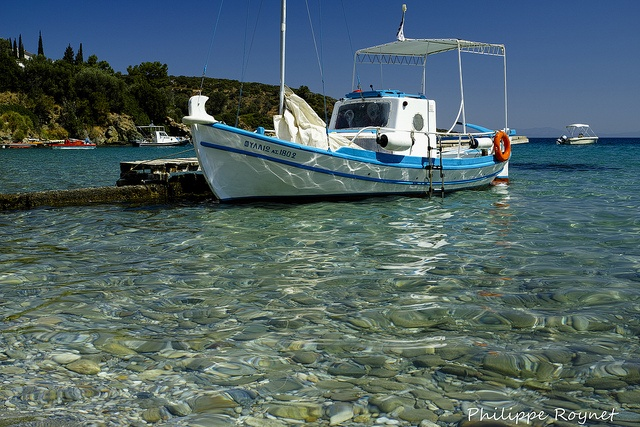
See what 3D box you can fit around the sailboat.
[{"bbox_3d":[1.046,-1.845,16.417,13.285,3.895,4.145,1,2,-31],"label":"sailboat"}]
